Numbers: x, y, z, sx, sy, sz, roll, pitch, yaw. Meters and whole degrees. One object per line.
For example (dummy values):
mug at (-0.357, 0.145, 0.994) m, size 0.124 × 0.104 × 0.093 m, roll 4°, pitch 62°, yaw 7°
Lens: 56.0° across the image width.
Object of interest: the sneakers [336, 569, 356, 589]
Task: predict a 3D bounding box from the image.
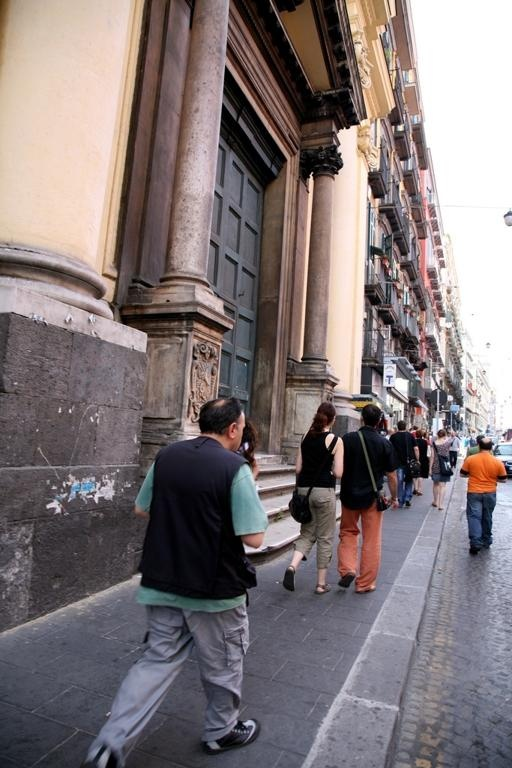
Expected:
sneakers at (0.824, 1.817, 4.421) m, size 0.106 × 0.112 × 0.250 m, roll 11°, pitch -47°, yaw -9°

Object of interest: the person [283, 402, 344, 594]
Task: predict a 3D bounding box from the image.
person at (0.571, 1.019, 4.544) m, size 0.467 × 1.773 × 0.785 m, roll 5°, pitch -7°, yaw 7°

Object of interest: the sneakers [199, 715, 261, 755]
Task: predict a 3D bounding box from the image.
sneakers at (-0.093, 1.300, 1.836) m, size 0.086 × 0.114 × 0.228 m, roll 6°, pitch 2°, yaw 42°

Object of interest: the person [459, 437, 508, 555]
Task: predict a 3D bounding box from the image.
person at (3.448, 1.681, 7.358) m, size 0.606 × 1.689 × 0.944 m, roll 2°, pitch -8°, yaw 28°

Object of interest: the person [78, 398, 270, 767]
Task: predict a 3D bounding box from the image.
person at (-0.202, 0.661, 1.667) m, size 0.583 × 1.293 × 0.517 m, roll 8°, pitch -7°, yaw -13°

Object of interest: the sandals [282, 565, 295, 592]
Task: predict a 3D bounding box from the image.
sandals at (0.285, 1.672, 4.164) m, size 0.095 × 0.242 × 0.094 m, roll 1°, pitch -2°, yaw 10°

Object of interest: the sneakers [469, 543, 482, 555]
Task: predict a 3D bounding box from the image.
sneakers at (3.182, 2.369, 6.979) m, size 0.121 × 0.192 × 0.179 m, roll 1°, pitch -8°, yaw 19°

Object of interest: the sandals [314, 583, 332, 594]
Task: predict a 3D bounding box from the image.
sandals at (0.609, 1.853, 4.354) m, size 0.149 × 0.076 × 0.149 m, roll 7°, pitch -8°, yaw -3°
